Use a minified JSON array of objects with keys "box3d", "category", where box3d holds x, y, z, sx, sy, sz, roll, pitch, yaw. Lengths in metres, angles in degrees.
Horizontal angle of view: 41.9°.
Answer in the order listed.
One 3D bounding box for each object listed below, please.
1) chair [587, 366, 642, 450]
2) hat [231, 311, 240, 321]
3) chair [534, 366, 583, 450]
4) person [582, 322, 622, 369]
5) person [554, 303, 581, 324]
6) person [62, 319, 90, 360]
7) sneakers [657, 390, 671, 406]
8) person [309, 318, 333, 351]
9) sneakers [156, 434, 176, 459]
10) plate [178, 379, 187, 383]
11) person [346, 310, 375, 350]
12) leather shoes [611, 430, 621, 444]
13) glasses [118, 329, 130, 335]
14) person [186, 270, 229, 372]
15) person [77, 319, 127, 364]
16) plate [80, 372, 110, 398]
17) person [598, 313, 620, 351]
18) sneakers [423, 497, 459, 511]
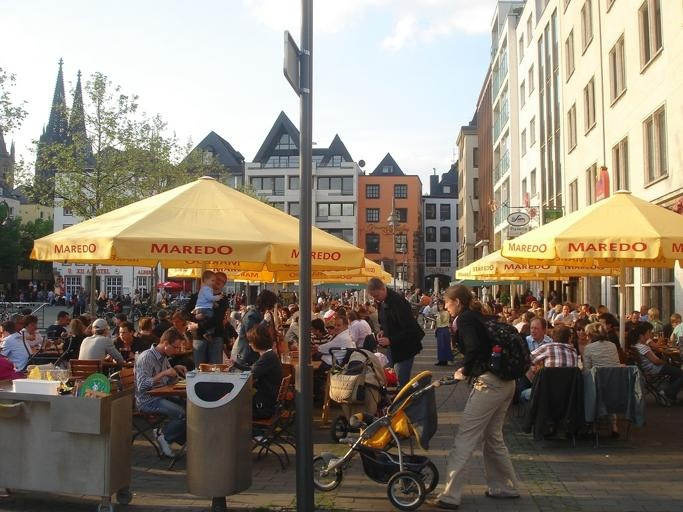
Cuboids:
[{"box3d":[4.348,2.339,14.156,0.958,1.082,1.031,2,-10,2],"category":"chair"},{"box3d":[-2.541,1.421,21.355,0.211,0.153,0.208,1,-8,-20],"category":"hat"},{"box3d":[3.479,2.335,14.112,0.849,1.018,0.859,-1,8,-3],"category":"chair"},{"box3d":[4.164,1.496,14.397,0.636,0.841,0.555,-8,4,-41],"category":"person"},{"box3d":[6.042,1.554,24.007,0.481,0.412,0.824,0,-15,23],"category":"person"},{"box3d":[-5.289,1.711,17.727,0.429,1.002,0.327,-2,22,-18],"category":"person"},{"box3d":[6.208,2.745,17.304,0.161,0.195,0.464,-2,7,4],"category":"sneakers"},{"box3d":[-0.501,1.720,19.822,0.655,0.897,0.332,0,1,9],"category":"person"},{"box3d":[-2.581,2.787,13.139,0.190,0.455,0.162,-19,3,4],"category":"sneakers"},{"box3d":[-2.439,1.910,13.566,0.137,0.042,0.158,0,0,13],"category":"plate"},{"box3d":[0.383,1.522,18.211,0.420,0.589,0.772,2,9,30],"category":"person"},{"box3d":[4.405,2.895,14.353,0.141,0.142,0.103,0,-9,0],"category":"leather shoes"},{"box3d":[-4.103,1.456,16.908,0.133,0.104,0.185,0,-10,6],"category":"glasses"},{"box3d":[-2.282,1.288,15.175,0.700,2.134,0.584,-4,8,-33],"category":"person"},{"box3d":[-4.308,1.675,15.978,0.744,1.128,0.588,7,5,8],"category":"person"},{"box3d":[-3.124,1.622,11.256,0.400,0.255,0.293,-1,9,-12],"category":"plate"},{"box3d":[4.726,1.358,15.856,0.453,0.825,0.607,-4,-2,21],"category":"person"},{"box3d":[1.271,3.177,11.454,0.417,0.186,0.159,3,-4,18],"category":"sneakers"}]
